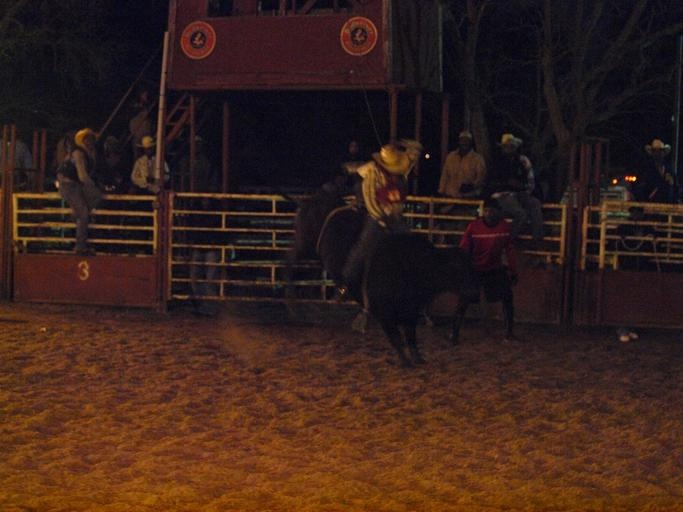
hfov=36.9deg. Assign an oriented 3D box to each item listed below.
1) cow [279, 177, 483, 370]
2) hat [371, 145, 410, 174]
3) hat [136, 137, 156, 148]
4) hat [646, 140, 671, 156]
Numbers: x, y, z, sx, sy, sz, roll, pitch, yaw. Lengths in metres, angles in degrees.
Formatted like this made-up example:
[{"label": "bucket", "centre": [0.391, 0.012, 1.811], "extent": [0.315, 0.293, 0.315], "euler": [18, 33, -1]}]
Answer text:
[{"label": "cow", "centre": [0.593, 0.359, 16.350], "extent": [2.716, 2.800, 0.834], "euler": [2, 3, 26]}, {"label": "hat", "centre": [0.798, -1.469, 16.248], "extent": [0.449, 0.158, 0.498], "euler": [35, 14, -20]}, {"label": "hat", "centre": [-4.337, -2.574, 22.871], "extent": [0.383, 0.175, 0.447], "euler": [-20, 13, 4]}, {"label": "hat", "centre": [8.287, -2.812, 26.841], "extent": [0.553, 0.370, 0.771], "euler": [2, -1, 12]}]
